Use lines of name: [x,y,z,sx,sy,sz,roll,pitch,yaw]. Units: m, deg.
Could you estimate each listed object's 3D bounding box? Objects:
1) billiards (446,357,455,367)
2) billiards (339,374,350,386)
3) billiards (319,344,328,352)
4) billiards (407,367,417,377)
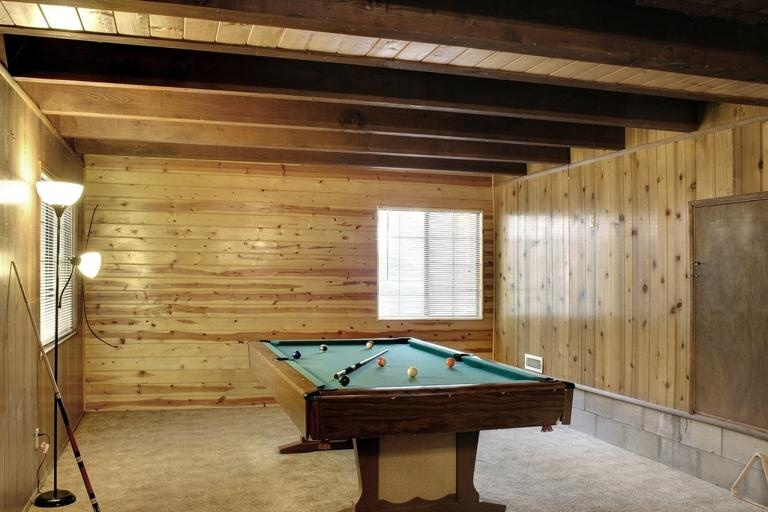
billiards: [0.571,0.918,5.141,0.080,0.080,0.069,28,-23,12]
billiards: [-0.298,0.924,4.409,0.089,0.065,0.043,-14,2,1]
billiards: [-0.614,0.923,5.946,0.075,0.051,0.055,-14,47,-28]
billiards: [0.230,0.929,4.752,0.085,0.061,0.084,-10,-19,14]
